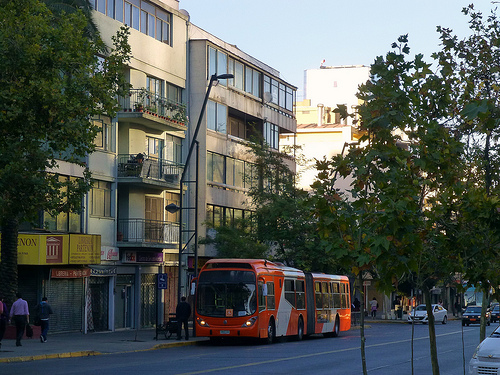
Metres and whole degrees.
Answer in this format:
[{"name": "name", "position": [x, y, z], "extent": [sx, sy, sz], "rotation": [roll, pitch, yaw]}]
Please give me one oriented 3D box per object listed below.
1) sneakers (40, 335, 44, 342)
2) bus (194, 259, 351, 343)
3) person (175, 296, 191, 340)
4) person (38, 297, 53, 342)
[{"name": "sneakers", "position": [-8.597, 6.262, 39.076], "extent": [0.077, 0.279, 0.100], "rotation": [-9, 2, -3]}, {"name": "bus", "position": [1.902, 6.044, 48.166], "extent": [3.398, 4.840, 17.153], "rotation": [-5, -16, 21]}, {"name": "person", "position": [-2.981, 5.872, 42.367], "extent": [0.674, 2.102, 1.611], "rotation": [1, -13, -4]}, {"name": "person", "position": [-8.574, 5.509, 39.360], "extent": [0.566, 1.997, 1.037], "rotation": [3, -12, -13]}]
